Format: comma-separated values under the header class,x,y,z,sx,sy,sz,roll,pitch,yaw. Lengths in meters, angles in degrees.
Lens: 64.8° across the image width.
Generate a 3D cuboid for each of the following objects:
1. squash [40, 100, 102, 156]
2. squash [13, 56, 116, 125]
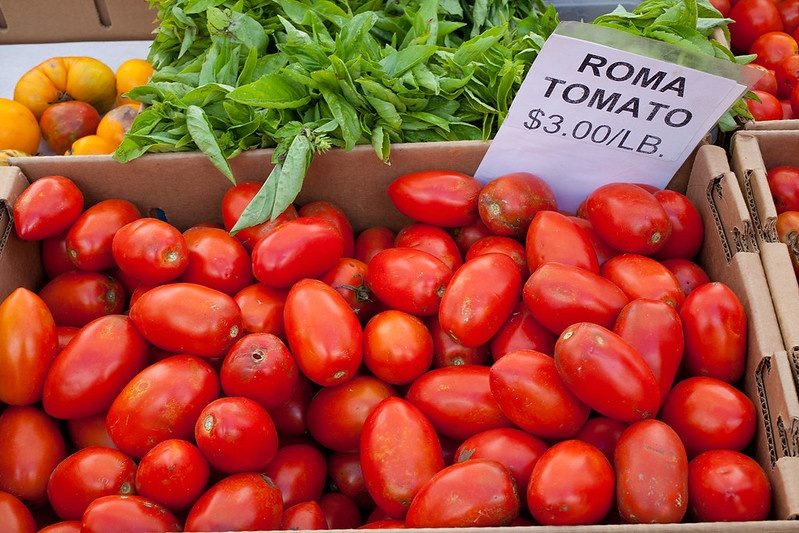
class,x,y,z,sx,sy,sz,roll,pitch,yaw
squash,-1.175,-0.493,2.293,0.199,0.193,0.189,7,82,-27
squash,-1.220,-0.698,2.451,0.200,0.144,0.169,3,88,19
